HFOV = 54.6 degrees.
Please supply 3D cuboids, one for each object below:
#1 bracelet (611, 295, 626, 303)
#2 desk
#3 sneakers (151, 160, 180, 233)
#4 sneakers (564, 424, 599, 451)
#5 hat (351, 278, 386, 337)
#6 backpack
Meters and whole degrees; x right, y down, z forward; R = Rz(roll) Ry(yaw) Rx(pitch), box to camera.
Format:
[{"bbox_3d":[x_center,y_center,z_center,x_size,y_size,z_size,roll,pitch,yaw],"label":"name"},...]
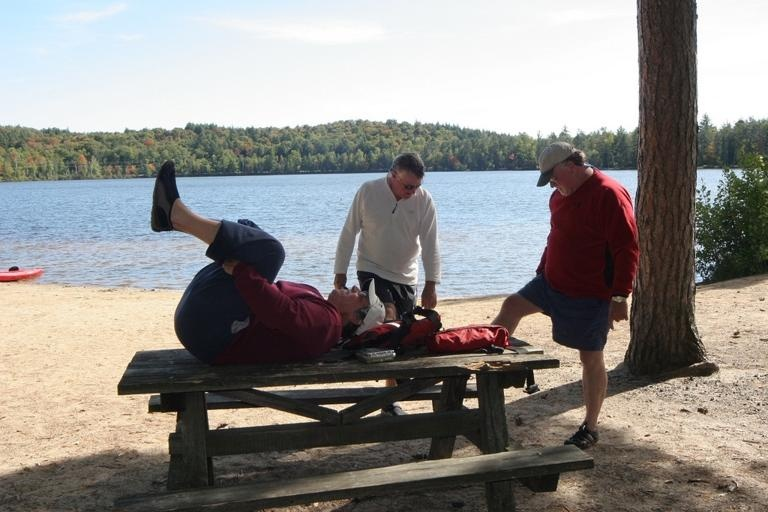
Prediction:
[{"bbox_3d":[2.290,0.409,7.247,0.147,0.061,0.126,1,9,22],"label":"bracelet"},{"bbox_3d":[-0.415,1.450,6.476,2.571,0.867,2.005,0,8,-10],"label":"desk"},{"bbox_3d":[-1.796,-0.500,6.211,0.268,0.576,0.230,6,-1,38],"label":"sneakers"},{"bbox_3d":[2.022,1.816,7.503,0.535,0.204,0.215,2,-1,-33],"label":"sneakers"},{"bbox_3d":[-0.129,0.496,6.981,0.224,0.429,0.275,18,-4,-8],"label":"hat"},{"bbox_3d":[0.162,0.662,6.823,0.624,0.219,0.406,-3,5,-5],"label":"backpack"}]
